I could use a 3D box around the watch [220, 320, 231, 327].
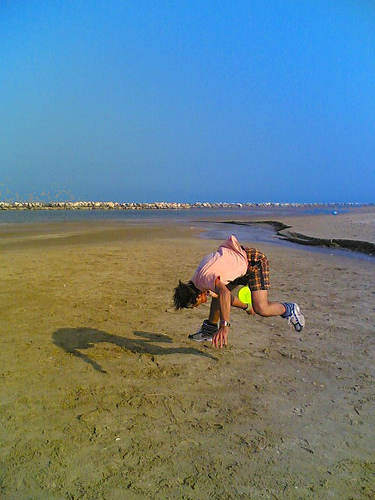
[{"bbox_3d":[0.311,0.582,2.964,0.061,0.044,0.067,10,-8,-14],"label":"watch"}]

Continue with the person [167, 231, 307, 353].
[{"bbox_3d":[0.464,0.444,3.396,1.213,1.095,1.011,-8,17,6],"label":"person"}]

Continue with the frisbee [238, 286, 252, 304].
[{"bbox_3d":[0.635,0.466,3.969,0.168,0.175,0.035,18,-24,-21],"label":"frisbee"}]
